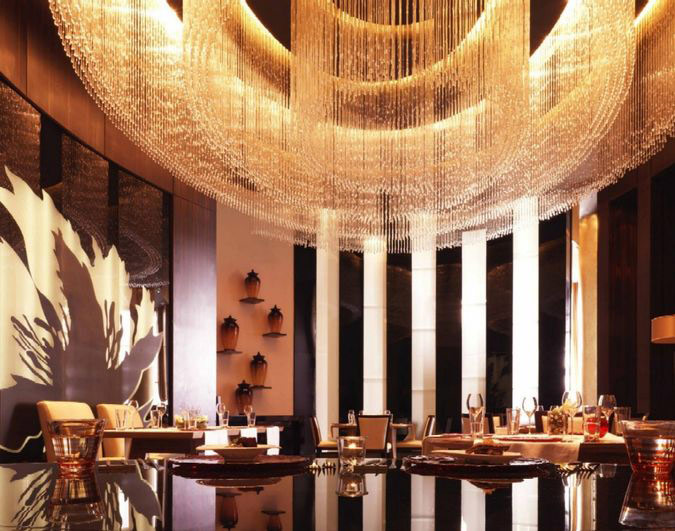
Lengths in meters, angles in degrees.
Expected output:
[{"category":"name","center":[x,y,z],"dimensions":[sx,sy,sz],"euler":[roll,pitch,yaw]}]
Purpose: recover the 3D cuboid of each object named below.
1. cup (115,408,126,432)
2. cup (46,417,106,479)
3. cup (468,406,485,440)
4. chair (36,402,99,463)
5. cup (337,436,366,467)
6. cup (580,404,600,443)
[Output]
[{"category":"cup","center":[-1.844,1.284,6.701],"dimensions":[0.109,0.228,0.130],"euler":[0,-12,-4]},{"category":"cup","center":[-0.789,0.560,2.417],"dimensions":[0.133,0.190,0.163],"euler":[0,-12,-2]},{"category":"cup","center":[0.736,0.823,4.186],"dimensions":[0.071,0.177,0.090],"euler":[-1,3,6]},{"category":"chair","center":[-2.189,1.341,6.687],"dimensions":[0.308,0.420,0.274],"euler":[10,-2,39]},{"category":"cup","center":[0.043,0.610,2.622],"dimensions":[0.082,0.091,0.091],"euler":[-2,-8,9]},{"category":"cup","center":[1.401,0.872,4.388],"dimensions":[0.096,0.202,0.113],"euler":[-1,-2,15]}]
